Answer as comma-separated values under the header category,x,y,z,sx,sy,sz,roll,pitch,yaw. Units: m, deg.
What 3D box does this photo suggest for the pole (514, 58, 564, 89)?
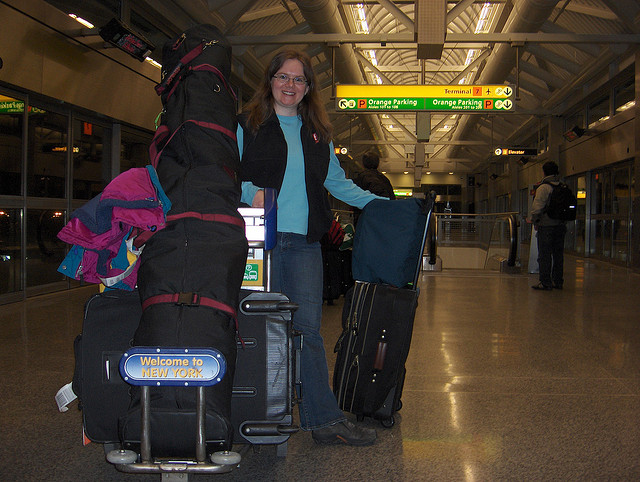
category,x,y,z,sx,sy,sz,roll,pitch,yaw
pole,6.575,-5.001,15.368,1.655,0.769,0.745,-1,5,-17

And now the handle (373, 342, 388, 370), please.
category,x,y,z,sx,sy,sz,roll,pitch,yaw
handle,0.340,0.636,2.853,0.068,0.149,0.030,1,5,3

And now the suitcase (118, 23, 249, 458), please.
category,x,y,z,sx,sy,sz,roll,pitch,yaw
suitcase,-0.554,-0.073,2.344,0.421,1.741,0.561,-2,-2,17

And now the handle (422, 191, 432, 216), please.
category,x,y,z,sx,sy,sz,roll,pitch,yaw
handle,0.578,-0.209,2.732,0.035,0.100,0.076,11,-2,-11

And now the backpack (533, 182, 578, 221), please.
category,x,y,z,sx,sy,sz,roll,pitch,yaw
backpack,3.614,-0.604,7.734,0.428,0.578,0.342,2,5,23

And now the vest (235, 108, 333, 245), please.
category,x,y,z,sx,sy,sz,roll,pitch,yaw
vest,-0.162,-0.316,2.638,0.434,0.728,0.264,1,5,-26

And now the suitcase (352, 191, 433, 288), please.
category,x,y,z,sx,sy,sz,roll,pitch,yaw
suitcase,0.425,-0.030,3.072,0.486,0.645,0.475,5,3,2

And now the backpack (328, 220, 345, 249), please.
category,x,y,z,sx,sy,sz,roll,pitch,yaw
backpack,0.210,-0.090,6.199,0.218,0.301,0.119,14,-1,3

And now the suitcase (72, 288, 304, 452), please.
category,x,y,z,sx,sy,sz,roll,pitch,yaw
suitcase,-0.523,0.542,2.158,0.940,0.682,0.343,1,4,-6

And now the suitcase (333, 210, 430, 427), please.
category,x,y,z,sx,sy,sz,roll,pitch,yaw
suitcase,0.375,0.409,3.080,0.472,1.156,0.550,4,3,12
